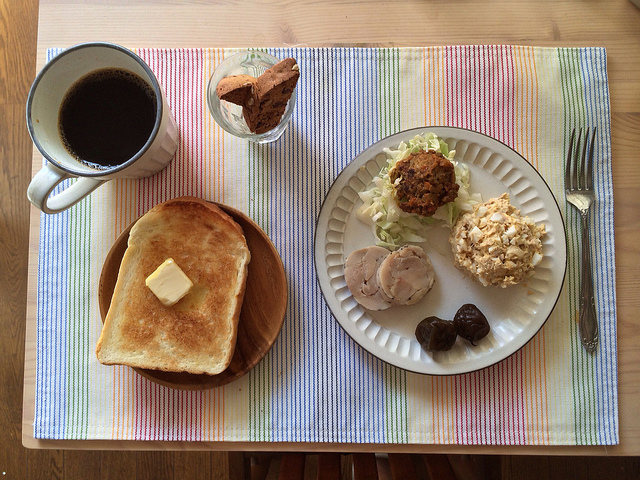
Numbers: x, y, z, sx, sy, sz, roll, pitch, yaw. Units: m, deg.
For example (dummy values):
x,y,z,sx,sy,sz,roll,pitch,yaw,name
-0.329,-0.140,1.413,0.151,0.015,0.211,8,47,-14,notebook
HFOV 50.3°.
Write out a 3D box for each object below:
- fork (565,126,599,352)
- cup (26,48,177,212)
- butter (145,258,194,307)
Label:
x,y,z,sx,sy,sz,roll,pitch,yaw,name
0.968,0.018,2.533,0.083,0.090,0.912,-1,90,-1,fork
-0.739,-0.428,2.452,0.396,0.406,0.596,28,92,-6,cup
-0.528,0.151,2.404,0.149,0.038,0.128,42,87,6,butter
